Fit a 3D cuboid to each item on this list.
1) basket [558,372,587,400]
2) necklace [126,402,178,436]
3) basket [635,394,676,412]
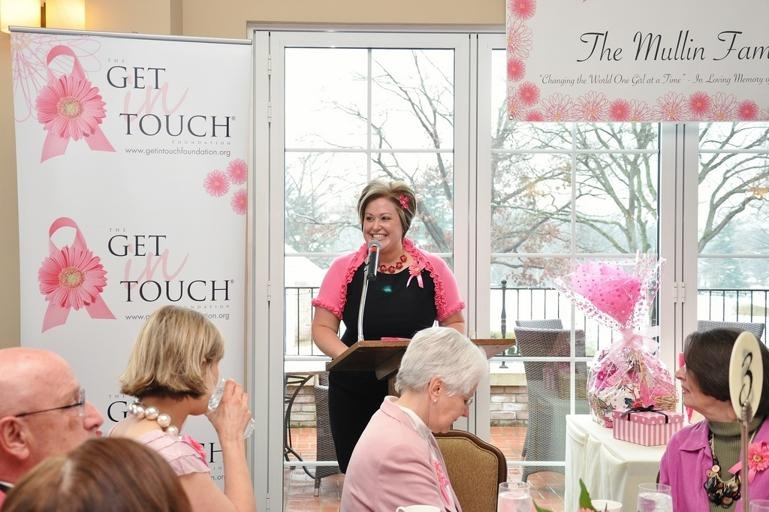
[{"bbox_3d":[1.297,0.902,4.926,0.195,0.182,0.047,4,-4,-2],"label":"basket"},{"bbox_3d":[-0.933,0.661,2.893,0.192,0.129,0.076,-1,-3,7],"label":"necklace"},{"bbox_3d":[1.654,0.894,4.318,0.144,0.075,0.187,1,-9,-13],"label":"basket"}]
